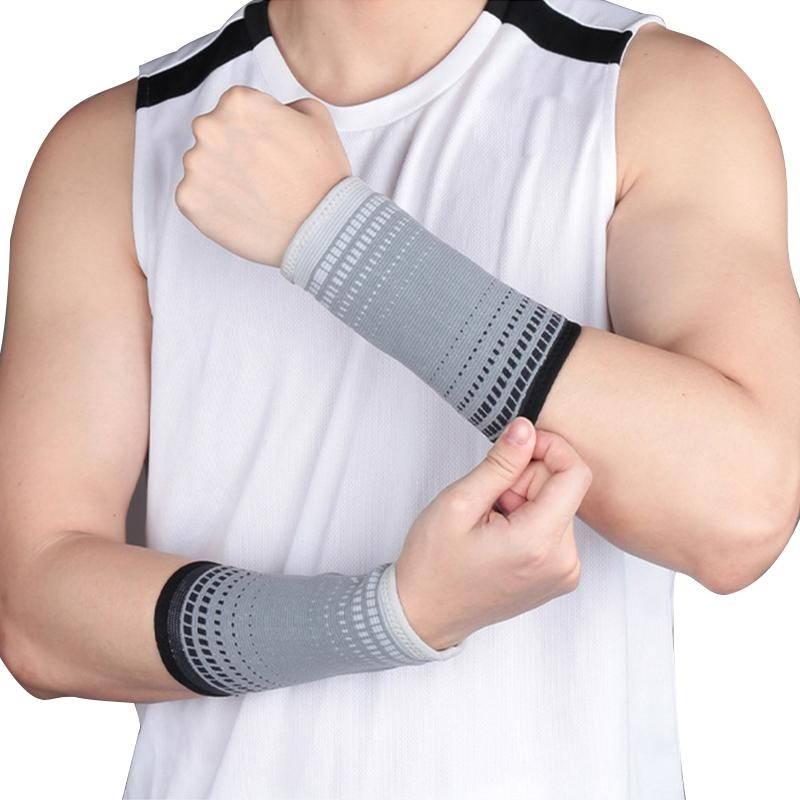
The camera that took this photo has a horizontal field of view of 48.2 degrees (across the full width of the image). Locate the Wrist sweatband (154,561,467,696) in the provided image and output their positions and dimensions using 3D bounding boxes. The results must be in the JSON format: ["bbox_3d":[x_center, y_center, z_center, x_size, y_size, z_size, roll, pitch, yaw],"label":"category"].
[{"bbox_3d":[-0.098,0.233,0.889,0.286,0.109,0.128,-7,74,20],"label":"Wrist sweatband"}]

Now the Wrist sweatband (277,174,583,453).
[{"bbox_3d":[0.025,-0.077,0.890,0.320,0.119,0.160,31,80,2],"label":"Wrist sweatband"}]
